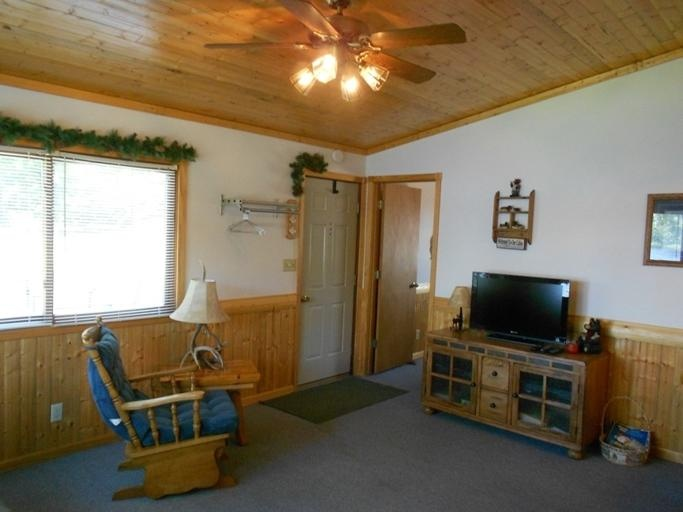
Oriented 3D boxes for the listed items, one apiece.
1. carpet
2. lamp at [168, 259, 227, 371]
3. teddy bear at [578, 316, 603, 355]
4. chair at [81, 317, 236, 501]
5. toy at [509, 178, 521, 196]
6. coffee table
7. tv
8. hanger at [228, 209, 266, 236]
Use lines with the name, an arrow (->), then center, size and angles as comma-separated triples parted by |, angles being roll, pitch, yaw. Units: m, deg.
carpet -> -0.200, 1.594, 5.610 | 1.189, 0.029, 1.771 | -13, -4, -18
lamp -> -1.206, 0.571, 4.319 | 0.518, 0.905, 0.502 | 1, 1, -31
teddy bear -> 2.203, 0.717, 4.659 | 0.317, 0.279, 0.144 | 8, -1, 39
chair -> -1.363, 1.191, 4.021 | 1.128, 1.174, 0.987 | -2, 4, -8
toy -> 1.751, -0.690, 5.087 | 0.113, 0.186, 0.108 | 5, 11, 16
coffee table -> -1.078, 1.074, 4.328 | 0.889, 0.616, 0.697 | 0, -3, -6
tv -> 1.736, 0.501, 4.832 | 0.679, 0.469, 0.189 | 4, 3, 36
hanger -> -0.965, -0.304, 5.119 | 0.393, 0.194, 0.039 | -7, 14, -42
